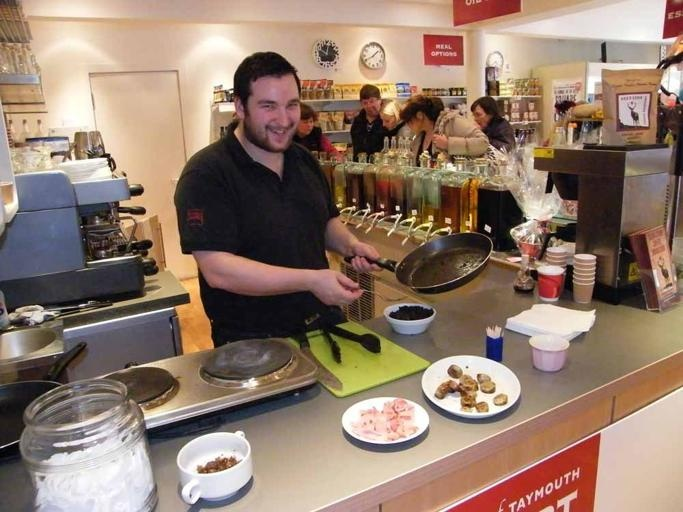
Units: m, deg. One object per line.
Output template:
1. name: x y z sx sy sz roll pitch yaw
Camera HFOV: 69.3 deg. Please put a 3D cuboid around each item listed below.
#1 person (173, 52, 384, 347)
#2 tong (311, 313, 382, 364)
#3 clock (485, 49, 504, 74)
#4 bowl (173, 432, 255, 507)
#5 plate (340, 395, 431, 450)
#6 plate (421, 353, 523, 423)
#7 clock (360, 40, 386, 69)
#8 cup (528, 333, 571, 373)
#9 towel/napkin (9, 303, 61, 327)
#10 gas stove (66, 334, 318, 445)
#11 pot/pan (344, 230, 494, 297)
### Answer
1. person: -0.285 -0.205 2.055 0.761 1.230 0.729 -10 16 -18
2. tong: 0.015 0.310 1.875 0.108 0.052 0.209 -9 17 -18
3. clock: 2.644 -3.354 8.495 0.422 0.353 0.086 -15 18 -33
4. bowl: -0.326 0.543 1.294 0.145 0.082 0.196 13 25 28
5. plate: 0.125 0.485 1.450 0.149 0.038 0.157 1 16 10
6. plate: 0.414 0.421 1.600 0.291 0.085 0.276 5 18 32
7. clock: 0.455 -2.982 7.364 0.383 0.385 0.089 -1 7 -34
8. cup: 0.715 0.331 1.705 0.123 0.090 0.127 -2 6 0
9. towel/napkin: -1.573 0.283 2.539 0.123 0.041 0.135 8 14 9
10. gas stove: -0.349 0.388 1.541 0.536 0.129 0.300 -12 23 -31
11. pot/pan: 0.356 0.030 2.131 0.504 0.075 0.315 -7 29 35
